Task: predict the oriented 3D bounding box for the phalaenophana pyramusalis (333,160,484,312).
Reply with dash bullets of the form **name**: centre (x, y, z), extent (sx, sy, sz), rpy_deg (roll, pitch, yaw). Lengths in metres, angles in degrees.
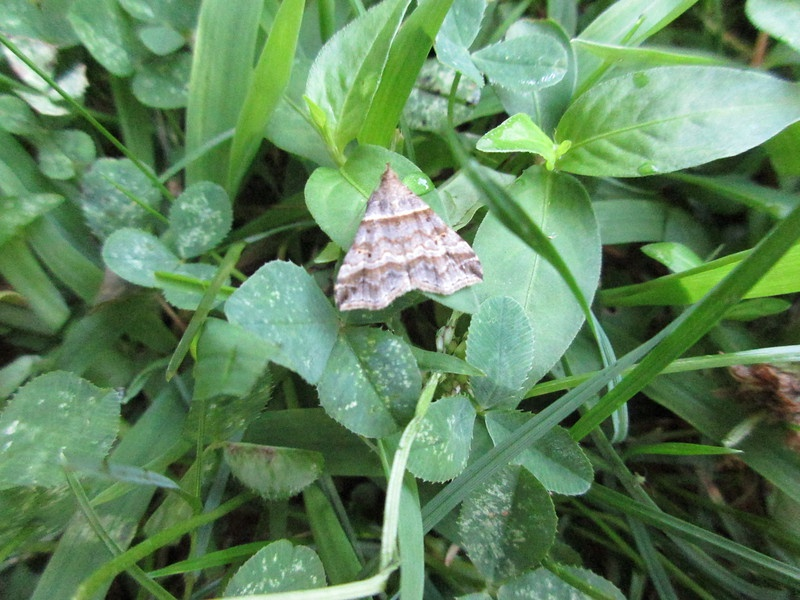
- **phalaenophana pyramusalis**: centre (-0.002, -0.098, 1.307), extent (0.296, 0.081, 0.286), rpy_deg (-8, 80, -8)
